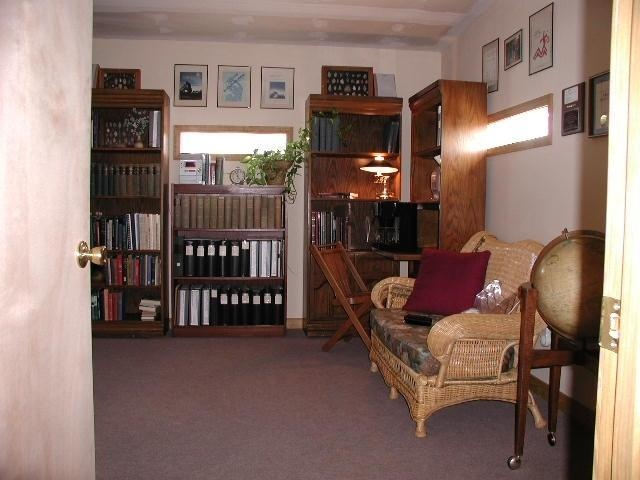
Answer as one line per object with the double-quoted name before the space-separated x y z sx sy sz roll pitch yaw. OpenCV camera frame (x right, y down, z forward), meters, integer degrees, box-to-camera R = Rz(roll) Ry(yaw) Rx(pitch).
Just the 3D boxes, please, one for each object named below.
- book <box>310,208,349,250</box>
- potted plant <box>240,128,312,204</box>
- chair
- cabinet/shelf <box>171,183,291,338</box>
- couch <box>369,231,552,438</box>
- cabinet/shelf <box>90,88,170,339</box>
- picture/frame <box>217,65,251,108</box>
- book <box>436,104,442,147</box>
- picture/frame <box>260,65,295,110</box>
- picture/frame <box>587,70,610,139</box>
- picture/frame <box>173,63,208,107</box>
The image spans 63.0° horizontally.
"book" 0.084 -0.117 5.185 0.293 0.417 0.420 1 5 9
"potted plant" -0.412 -0.712 5.383 0.666 0.525 0.658 0 -2 3
"chair" 0.188 0.507 4.651 0.516 0.970 1.060 -1 5 4
"cabinet/shelf" -0.891 0.183 5.217 1.121 1.485 0.488 -2 4 -2
"couch" 0.870 0.570 3.403 0.996 1.126 1.274 -1 5 0
"cabinet/shelf" -1.877 -0.265 5.217 0.810 2.369 0.645 -3 5 -16
"picture/frame" -0.903 -1.605 5.413 0.418 0.524 0.024 0 5 1
"book" 1.020 -0.968 4.461 0.061 0.287 0.259 6 21 13
"picture/frame" -0.458 -1.600 5.442 0.428 0.510 0.020 0 2 -6
"picture/frame" 1.702 -0.825 3.211 0.022 0.374 0.141 -3 5 -19
"picture/frame" -1.342 -1.604 5.374 0.421 0.568 0.027 0 1 -11
